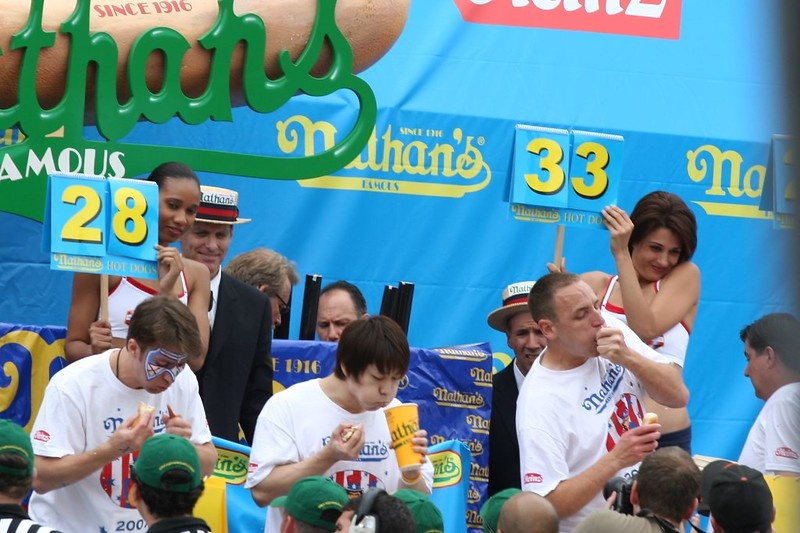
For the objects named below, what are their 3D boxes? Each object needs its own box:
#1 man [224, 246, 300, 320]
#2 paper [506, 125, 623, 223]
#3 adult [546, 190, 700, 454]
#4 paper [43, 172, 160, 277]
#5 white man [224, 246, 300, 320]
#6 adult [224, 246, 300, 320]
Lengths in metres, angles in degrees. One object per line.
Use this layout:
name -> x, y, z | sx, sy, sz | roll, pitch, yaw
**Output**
man -> -1.070, 0.120, 7.977 | 0.583, 0.713, 0.482 | -14, 7, -24
paper -> 1.226, -0.681, 7.450 | 0.844, 0.712, 0.282 | 4, -4, -5
adult -> 1.604, 0.717, 7.252 | 1.093, 2.317, 0.761 | 2, 0, 13
paper -> -1.927, -0.269, 6.463 | 0.606, 0.554, 0.213 | 4, -17, -15
white man -> -1.053, 0.132, 7.970 | 0.583, 0.713, 0.482 | -14, 7, -24
adult -> -1.184, 0.131, 8.212 | 0.583, 0.713, 0.482 | -14, 7, -24
